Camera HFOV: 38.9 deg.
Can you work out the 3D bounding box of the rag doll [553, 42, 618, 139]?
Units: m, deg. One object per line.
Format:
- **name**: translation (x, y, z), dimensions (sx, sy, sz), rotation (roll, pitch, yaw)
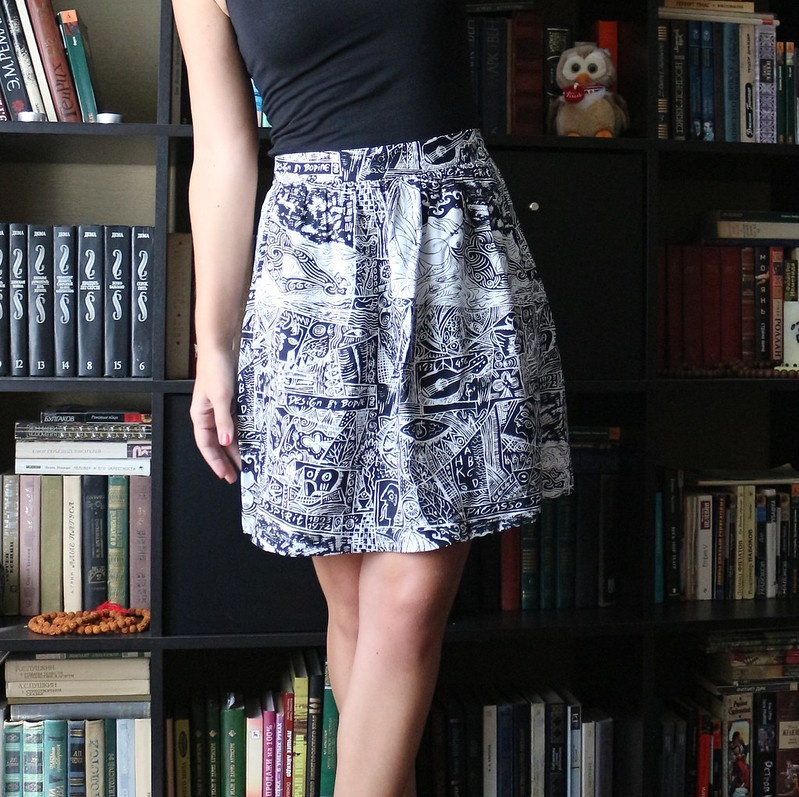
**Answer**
- **rag doll**: translation (0.351, -0.564, 2.100), dimensions (0.152, 0.173, 0.118), rotation (2, 12, 14)
